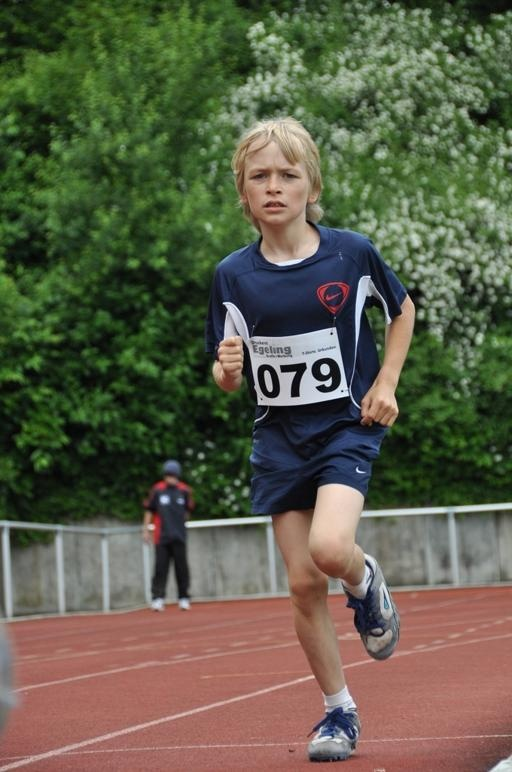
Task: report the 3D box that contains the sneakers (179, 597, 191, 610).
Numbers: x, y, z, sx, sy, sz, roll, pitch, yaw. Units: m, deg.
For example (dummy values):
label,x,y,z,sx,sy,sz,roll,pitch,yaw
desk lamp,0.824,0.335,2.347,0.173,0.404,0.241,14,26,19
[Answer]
label,x,y,z,sx,sy,sz,roll,pitch,yaw
sneakers,-0.770,1.886,7.829,0.102,0.076,0.202,0,-8,-8

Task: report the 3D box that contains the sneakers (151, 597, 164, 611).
label,x,y,z,sx,sy,sz,roll,pitch,yaw
sneakers,-1.019,1.896,7.858,0.111,0.121,0.157,-3,3,-3

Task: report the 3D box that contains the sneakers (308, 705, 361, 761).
label,x,y,z,sx,sy,sz,roll,pitch,yaw
sneakers,0.186,0.916,2.354,0.126,0.123,0.176,-2,2,12

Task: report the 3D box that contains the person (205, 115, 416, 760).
label,x,y,z,sx,sy,sz,roll,pitch,yaw
person,0.158,0.152,2.434,0.632,1.815,0.658,-4,3,-3

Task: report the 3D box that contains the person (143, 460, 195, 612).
label,x,y,z,sx,sy,sz,roll,pitch,yaw
person,-0.926,1.313,7.983,0.462,1.275,0.461,-4,3,-9

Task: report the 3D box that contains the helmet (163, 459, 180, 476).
label,x,y,z,sx,sy,sz,roll,pitch,yaw
helmet,-0.886,0.741,7.972,0.152,0.153,0.174,2,-36,-1
